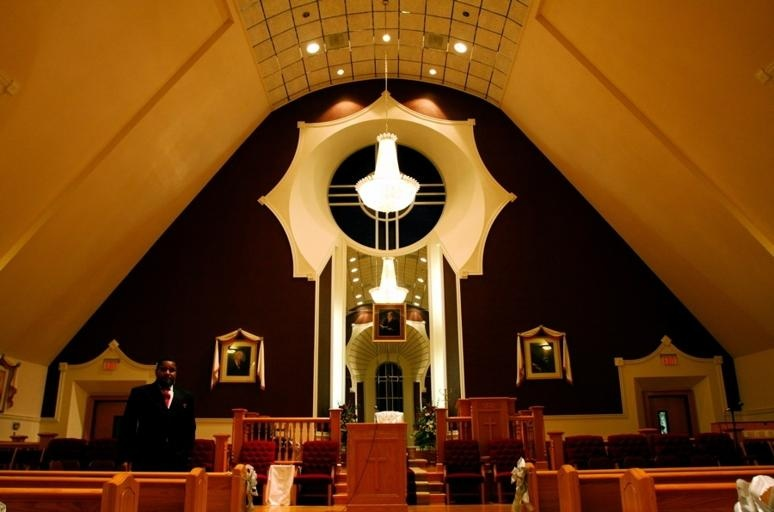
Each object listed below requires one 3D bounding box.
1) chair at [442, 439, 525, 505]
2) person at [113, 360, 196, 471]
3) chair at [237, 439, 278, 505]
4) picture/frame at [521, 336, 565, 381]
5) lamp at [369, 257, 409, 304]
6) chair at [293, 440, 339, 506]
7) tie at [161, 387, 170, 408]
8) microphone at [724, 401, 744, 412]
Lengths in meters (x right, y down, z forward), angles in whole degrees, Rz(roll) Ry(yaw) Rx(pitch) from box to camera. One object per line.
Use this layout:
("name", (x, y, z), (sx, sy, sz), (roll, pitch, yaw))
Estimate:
("chair", (2.020, 4.512, 12.070), (1.577, 1.256, 0.898), (-4, -19, 9))
("person", (-2.962, 2.064, 7.437), (0.904, 1.362, 0.369), (6, -19, -20))
("chair", (-2.703, 4.575, 12.268), (0.739, 1.282, 1.387), (10, -22, -29))
("picture/frame", (4.080, 2.670, 14.989), (0.977, 1.273, 0.104), (-3, -37, 13))
("lamp", (0.184, 0.697, 16.363), (1.000, 1.426, 1.033), (1, 12, 42))
("chair", (-1.445, 4.502, 11.979), (0.773, 1.199, 1.047), (0, -24, 2))
("tie", (-2.882, 1.845, 7.507), (0.055, 0.204, 0.133), (5, 0, -26))
("microphone", (8.855, 3.812, 14.543), (0.269, 0.132, 0.374), (-11, -10, -30))
